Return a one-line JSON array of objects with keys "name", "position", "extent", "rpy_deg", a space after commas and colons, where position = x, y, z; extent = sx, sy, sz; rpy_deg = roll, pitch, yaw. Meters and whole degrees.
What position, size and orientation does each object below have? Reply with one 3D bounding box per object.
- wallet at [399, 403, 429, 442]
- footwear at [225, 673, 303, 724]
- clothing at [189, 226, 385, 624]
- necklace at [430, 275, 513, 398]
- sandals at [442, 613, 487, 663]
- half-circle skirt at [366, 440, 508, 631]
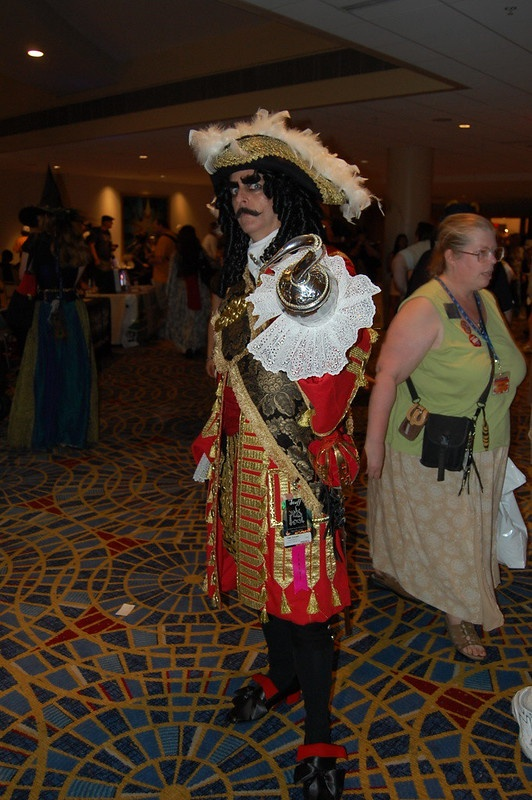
[{"name": "wallet", "position": [0.460, 0.068, 1.883], "extent": [0.043, 0.110, 0.082], "rpy_deg": [-3, 40, -50]}, {"name": "footwear", "position": [-0.006, 0.801, 1.664], "extent": [0.177, 0.078, 0.106], "rpy_deg": [-14, 24, -7]}, {"name": "clothing", "position": [0.017, 0.105, 1.322], "extent": [0.295, 0.891, 0.526], "rpy_deg": [-8, 11, -44]}, {"name": "necklace", "position": [0.560, -0.198, 1.860], "extent": [0.090, 0.348, 0.233], "rpy_deg": [-30, -30, 30]}, {"name": "sandals", "position": [0.658, 0.783, 2.022], "extent": [0.068, 0.064, 0.173], "rpy_deg": [-7, 3, -5]}, {"name": "half-circle skirt", "position": [0.562, 0.427, 1.968], "extent": [0.341, 0.552, 0.619], "rpy_deg": [-7, 12, -20]}]
